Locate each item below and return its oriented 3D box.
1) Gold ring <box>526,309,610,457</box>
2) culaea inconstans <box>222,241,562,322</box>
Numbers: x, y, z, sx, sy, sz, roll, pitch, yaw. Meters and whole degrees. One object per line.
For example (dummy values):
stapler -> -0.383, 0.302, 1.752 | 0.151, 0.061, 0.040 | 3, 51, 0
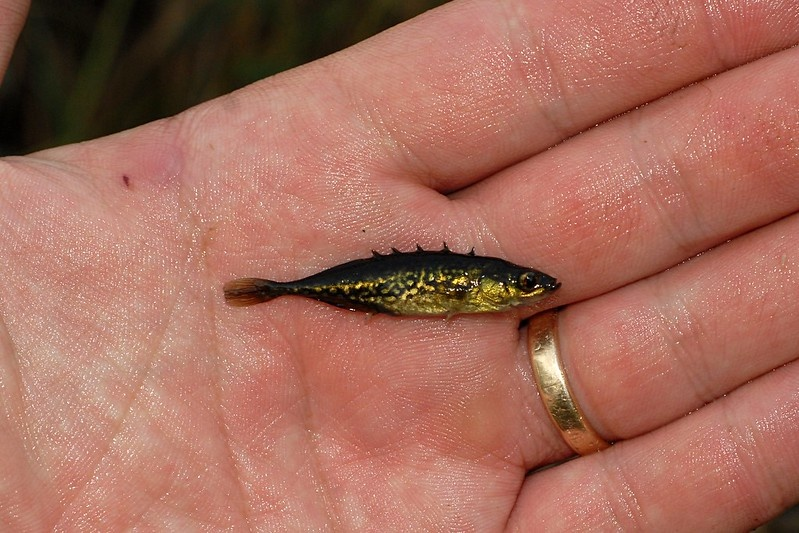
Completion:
Gold ring -> 1.784, 1.288, 9.211 | 0.469, 1.551, 0.568 | -17, -25, 18
culaea inconstans -> -0.039, 0.254, 9.138 | 3.636, 0.793, 0.492 | -2, 12, 2
